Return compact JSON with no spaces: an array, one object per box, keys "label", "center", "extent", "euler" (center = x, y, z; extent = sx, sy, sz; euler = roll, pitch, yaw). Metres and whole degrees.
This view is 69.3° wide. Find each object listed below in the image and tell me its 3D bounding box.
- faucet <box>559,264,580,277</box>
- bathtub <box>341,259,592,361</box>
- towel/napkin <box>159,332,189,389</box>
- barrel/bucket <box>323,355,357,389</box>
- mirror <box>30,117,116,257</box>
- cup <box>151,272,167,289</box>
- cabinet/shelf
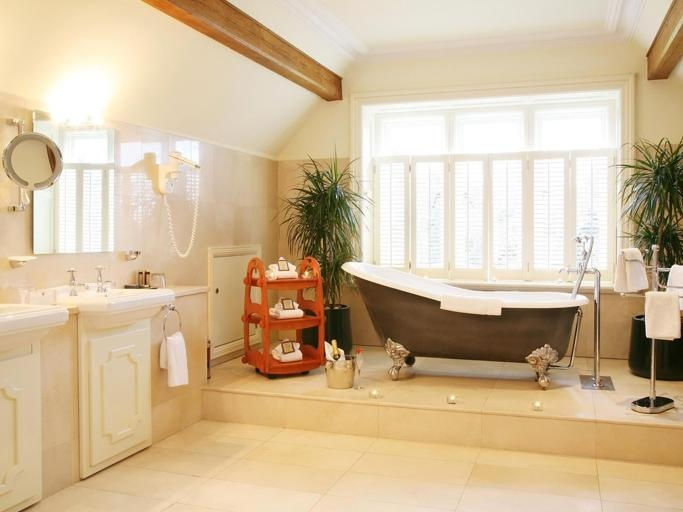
[{"label":"faucet","center":[2.038,0.124,4.403],"extent":[0.124,0.091,0.189],"euler":[2,-5,-39]},{"label":"bathtub","center":[0.950,0.415,3.909],"extent":[1.807,0.641,0.902],"euler":[-1,-3,16]},{"label":"towel/napkin","center":[-1.130,0.732,3.322],"extent":[0.168,0.441,0.239],"euler":[-9,17,-28]},{"label":"barrel/bucket","center":[-0.006,0.889,3.785],"extent":[0.254,0.213,0.292],"euler":[-5,-8,34]},{"label":"mirror","center":[-1.688,-0.435,3.069],"extent":[0.052,0.808,0.955],"euler":[3,0,17]},{"label":"cup","center":[-1.317,0.169,3.563],"extent":[0.094,0.102,0.115],"euler":[1,-4,-23]},{"label":"cabinet/shelf","center":[-0.484,0.483,4.178],"extent":[0.604,0.924,0.500],"euler":[0,1,-36]}]
